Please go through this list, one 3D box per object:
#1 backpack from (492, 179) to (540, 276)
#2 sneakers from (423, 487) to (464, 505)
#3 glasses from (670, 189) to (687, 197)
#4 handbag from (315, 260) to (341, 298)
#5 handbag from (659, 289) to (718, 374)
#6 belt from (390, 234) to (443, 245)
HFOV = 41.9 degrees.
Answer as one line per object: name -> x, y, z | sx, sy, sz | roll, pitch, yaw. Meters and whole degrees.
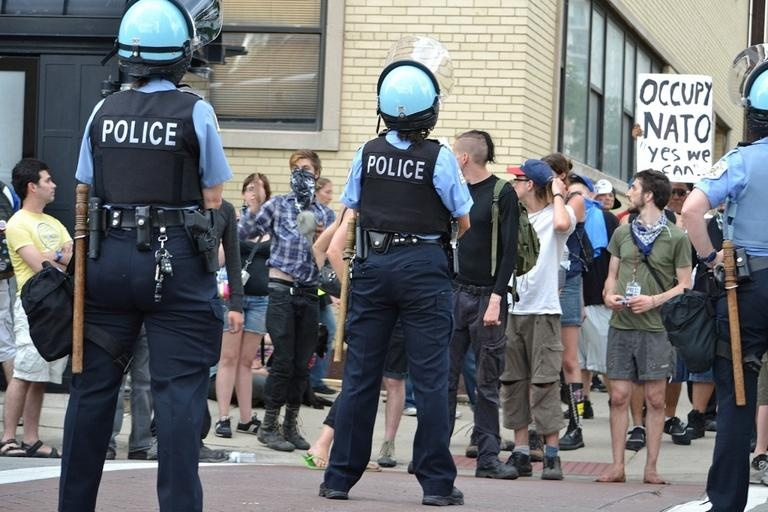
backpack -> 1.148, -0.245, 8.762 | 0.418, 0.868, 0.299 | 2, -4, 7
sneakers -> 0.459, 1.817, 7.534 | 0.335, 0.129, 0.126 | -1, 2, -34
glasses -> 3.548, -0.763, 12.047 | 0.180, 0.063, 0.182 | 1, -22, 14
handbag -> -0.556, 0.214, 9.692 | 0.318, 0.265, 0.220 | -1, -19, 18
handbag -> 2.271, 0.541, 7.341 | 0.400, 0.581, 0.474 | -8, 3, 40
belt -> 0.260, -0.119, 7.569 | 0.383, 0.079, 0.067 | 3, -4, -15
